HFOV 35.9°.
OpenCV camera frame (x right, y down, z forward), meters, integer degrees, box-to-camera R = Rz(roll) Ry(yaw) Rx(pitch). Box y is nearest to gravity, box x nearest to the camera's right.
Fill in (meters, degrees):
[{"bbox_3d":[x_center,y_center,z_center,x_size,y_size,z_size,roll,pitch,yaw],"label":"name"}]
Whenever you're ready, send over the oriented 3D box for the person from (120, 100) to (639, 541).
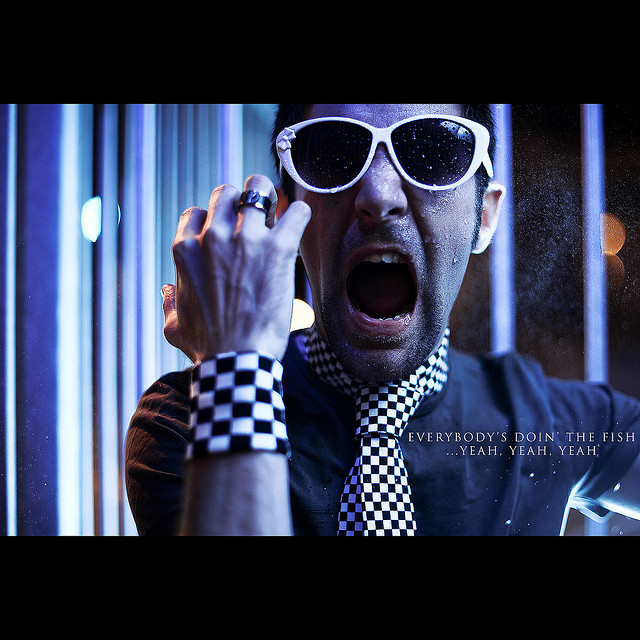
[{"bbox_3d":[0.193,0.020,2.439,0.813,1.186,0.433,1,-7,-7],"label":"person"}]
